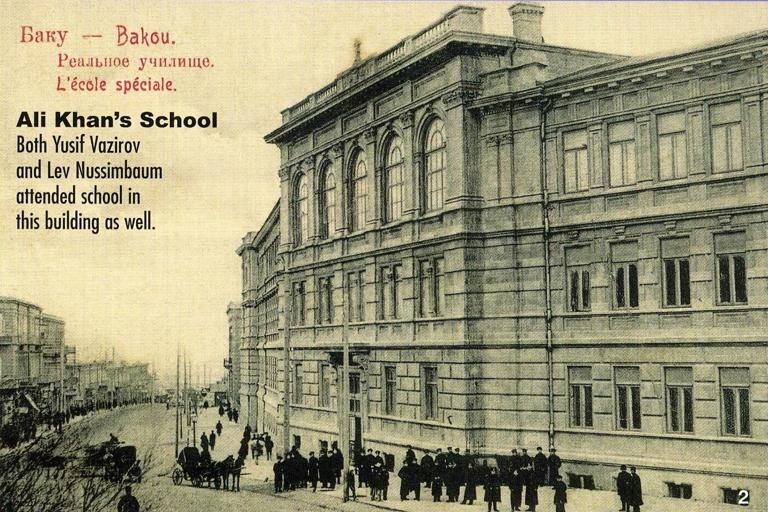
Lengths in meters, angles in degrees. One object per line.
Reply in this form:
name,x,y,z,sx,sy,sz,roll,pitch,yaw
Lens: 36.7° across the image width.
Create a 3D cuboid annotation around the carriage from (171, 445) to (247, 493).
carriage,-9.364,11.446,62.200,2.669,2.273,3.454,-8,-7,-25
